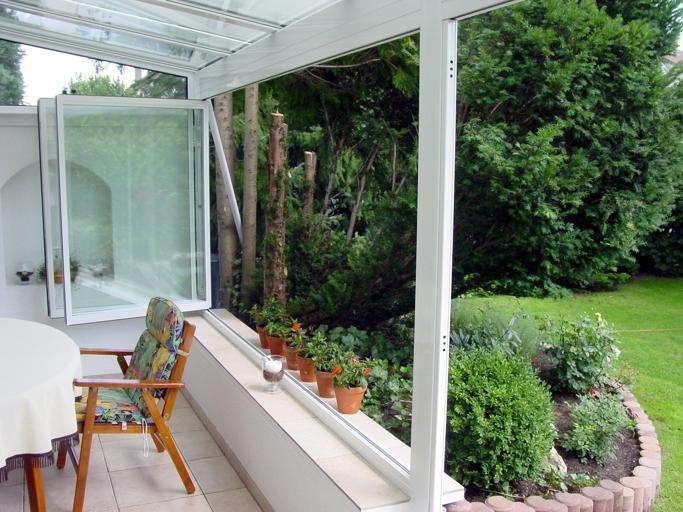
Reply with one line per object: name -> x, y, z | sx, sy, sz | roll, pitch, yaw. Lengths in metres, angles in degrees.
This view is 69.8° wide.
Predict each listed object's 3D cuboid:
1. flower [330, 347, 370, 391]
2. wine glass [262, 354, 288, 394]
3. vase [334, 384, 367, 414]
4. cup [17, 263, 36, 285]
flower -> 0.054, 0.761, 3.310 | 0.234, 0.180, 0.241 | -5, 28, -18
wine glass -> -0.495, 0.851, 3.578 | 0.178, 0.293, 0.182 | -5, 12, -35
vase -> 0.065, 0.939, 3.300 | 0.181, 0.148, 0.187 | 1, 0, 25
cup -> -4.137, 0.239, 6.410 | 0.228, 0.319, 0.182 | -1, 9, -21
